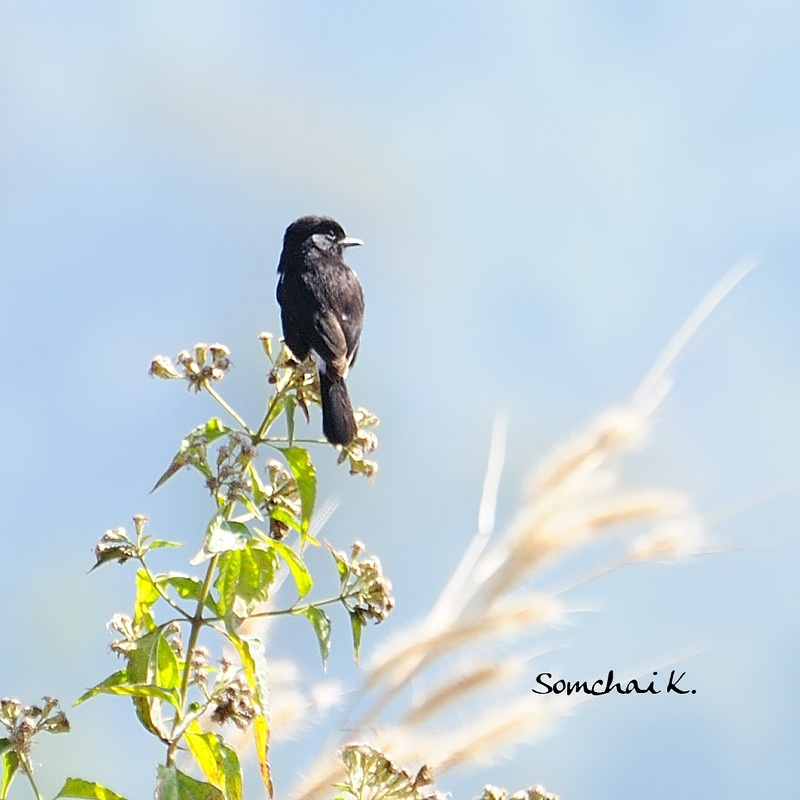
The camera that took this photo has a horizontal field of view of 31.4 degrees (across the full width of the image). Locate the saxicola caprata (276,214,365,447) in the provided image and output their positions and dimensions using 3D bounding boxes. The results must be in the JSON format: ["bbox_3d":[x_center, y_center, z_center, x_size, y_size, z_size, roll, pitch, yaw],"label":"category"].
[{"bbox_3d":[-0.334,-0.300,6.144,0.338,1.210,0.791,0,-71,-12],"label":"saxicola caprata"}]
